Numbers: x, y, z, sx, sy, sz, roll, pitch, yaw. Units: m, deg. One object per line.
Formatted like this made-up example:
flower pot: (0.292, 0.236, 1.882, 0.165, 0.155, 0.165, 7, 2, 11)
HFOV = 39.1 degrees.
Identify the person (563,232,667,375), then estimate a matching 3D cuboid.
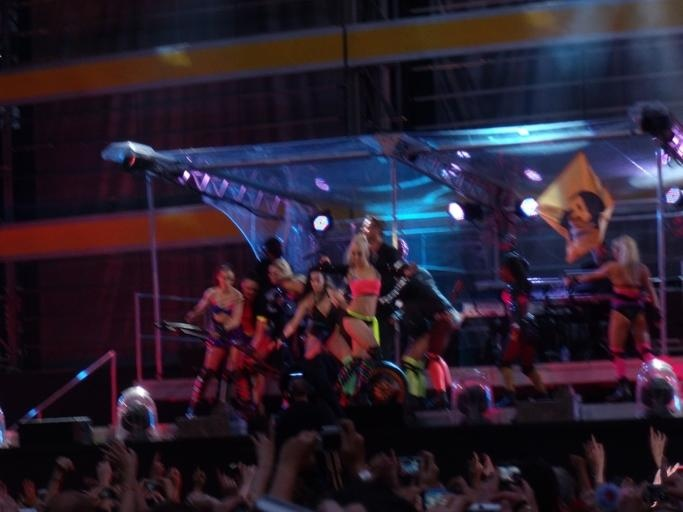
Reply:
person: (2.811, 0.543, 9.698, 0.716, 1.427, 0.444, -6, -12, 19)
